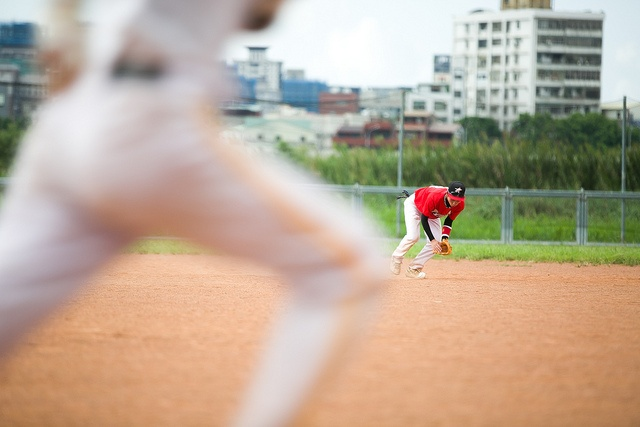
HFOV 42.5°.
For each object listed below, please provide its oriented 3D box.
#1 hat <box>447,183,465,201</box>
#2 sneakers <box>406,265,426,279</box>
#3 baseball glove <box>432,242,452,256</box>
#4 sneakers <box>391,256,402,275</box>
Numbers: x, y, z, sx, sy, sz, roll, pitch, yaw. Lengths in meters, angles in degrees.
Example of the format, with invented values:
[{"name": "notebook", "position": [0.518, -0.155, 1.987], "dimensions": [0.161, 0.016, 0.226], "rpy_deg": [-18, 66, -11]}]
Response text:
[{"name": "hat", "position": [1.564, -0.266, 9.468], "dimensions": [0.154, 0.127, 0.222], "rpy_deg": [7, 33, -18]}, {"name": "sneakers", "position": [1.187, 0.748, 10.257], "dimensions": [0.242, 0.149, 0.115], "rpy_deg": [1, 3, 8]}, {"name": "baseball glove", "position": [1.427, 0.413, 9.722], "dimensions": [0.191, 0.247, 0.092], "rpy_deg": [9, 33, 5]}, {"name": "sneakers", "position": [0.972, 0.645, 10.364], "dimensions": [0.098, 0.276, 0.121], "rpy_deg": [1, -7, -29]}]
